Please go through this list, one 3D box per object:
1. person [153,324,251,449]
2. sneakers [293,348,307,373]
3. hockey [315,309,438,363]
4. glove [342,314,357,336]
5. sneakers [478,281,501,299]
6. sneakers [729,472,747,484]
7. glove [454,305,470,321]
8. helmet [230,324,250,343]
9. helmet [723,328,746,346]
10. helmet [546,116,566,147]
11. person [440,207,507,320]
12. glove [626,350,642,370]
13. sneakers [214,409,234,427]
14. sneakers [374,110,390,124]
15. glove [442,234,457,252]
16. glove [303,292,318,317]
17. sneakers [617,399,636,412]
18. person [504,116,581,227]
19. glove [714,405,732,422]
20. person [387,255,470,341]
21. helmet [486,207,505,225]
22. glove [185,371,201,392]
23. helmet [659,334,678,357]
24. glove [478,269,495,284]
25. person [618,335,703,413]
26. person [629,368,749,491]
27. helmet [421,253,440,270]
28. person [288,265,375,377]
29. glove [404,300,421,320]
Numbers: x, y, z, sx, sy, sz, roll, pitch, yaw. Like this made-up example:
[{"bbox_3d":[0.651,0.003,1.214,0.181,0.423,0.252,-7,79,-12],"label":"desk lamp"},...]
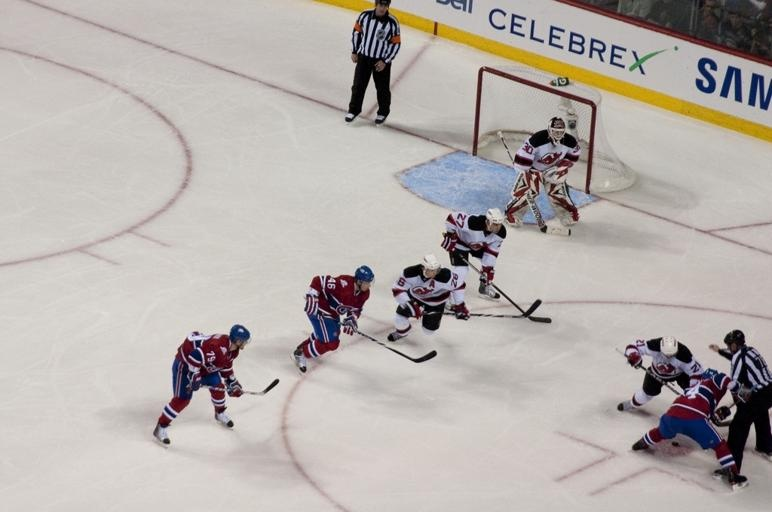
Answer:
[{"bbox_3d":[-1.694,1.265,9.069,0.615,0.965,0.614,33,42,11],"label":"person"},{"bbox_3d":[-0.842,1.037,9.681,0.090,0.244,0.113,-21,2,-31],"label":"sneakers"},{"bbox_3d":[-0.009,0.868,9.866,0.965,0.045,0.299,15,30,23],"label":"hockey"},{"bbox_3d":[-0.338,0.685,9.665,0.156,0.178,0.077,23,23,23],"label":"glove"},{"bbox_3d":[1.118,0.361,10.695,0.274,0.234,0.111,3,37,7],"label":"sneakers"},{"bbox_3d":[3.155,2.013,8.789,0.164,0.117,0.094,7,31,3],"label":"sneakers"},{"bbox_3d":[0.766,0.577,10.085,0.120,0.173,0.124,-17,10,-4],"label":"glove"},{"bbox_3d":[-1.327,0.705,8.807,0.171,0.125,0.133,29,52,2],"label":"helmet"},{"bbox_3d":[3.270,0.782,9.212,0.178,0.193,0.163,6,55,25],"label":"helmet"},{"bbox_3d":[1.910,-1.498,11.371,0.239,0.271,0.283,-3,48,-2],"label":"helmet"},{"bbox_3d":[0.974,-0.050,10.581,0.794,1.089,0.650,17,31,7],"label":"person"},{"bbox_3d":[2.354,0.990,9.304,0.122,0.168,0.068,-27,24,32],"label":"glove"},{"bbox_3d":[-1.515,1.514,9.114,0.159,0.106,0.050,35,65,4],"label":"sneakers"},{"bbox_3d":[-0.065,-1.859,13.161,0.101,0.092,0.257,3,38,18],"label":"sneakers"},{"bbox_3d":[0.662,-0.139,10.551,0.172,0.167,0.065,40,40,22],"label":"glove"},{"bbox_3d":[-0.719,0.464,9.509,0.127,0.250,0.105,9,32,5],"label":"glove"},{"bbox_3d":[2.347,1.454,9.465,0.219,0.071,0.143,-15,-13,20],"label":"sneakers"},{"bbox_3d":[1.913,-0.968,11.508,0.863,1.302,0.465,9,32,5],"label":"person"},{"bbox_3d":[3.186,1.492,9.275,0.063,0.169,0.112,16,48,-57],"label":"glove"},{"bbox_3d":[0.402,0.472,9.947,0.742,1.067,0.591,-4,32,-16],"label":"person"},{"bbox_3d":[1.133,-0.423,10.297,0.181,0.166,0.257,7,29,1],"label":"helmet"},{"bbox_3d":[-1.729,1.133,8.808,0.127,0.151,0.075,-6,12,-27],"label":"glove"},{"bbox_3d":[2.589,0.843,9.043,0.147,0.142,0.187,5,9,6],"label":"helmet"},{"bbox_3d":[1.077,0.222,10.593,0.129,0.139,0.137,7,9,0],"label":"glove"},{"bbox_3d":[2.591,1.192,9.263,0.875,0.932,0.630,3,26,11],"label":"person"},{"bbox_3d":[2.727,1.462,8.889,1.144,0.422,1.348,17,38,20],"label":"person"},{"bbox_3d":[0.444,0.057,9.560,0.134,0.152,0.168,-32,32,-15],"label":"helmet"},{"bbox_3d":[-0.577,0.613,9.602,0.667,1.194,0.579,9,21,-39],"label":"person"},{"bbox_3d":[0.271,0.540,9.800,0.065,0.173,0.131,-43,48,-21],"label":"glove"}]
